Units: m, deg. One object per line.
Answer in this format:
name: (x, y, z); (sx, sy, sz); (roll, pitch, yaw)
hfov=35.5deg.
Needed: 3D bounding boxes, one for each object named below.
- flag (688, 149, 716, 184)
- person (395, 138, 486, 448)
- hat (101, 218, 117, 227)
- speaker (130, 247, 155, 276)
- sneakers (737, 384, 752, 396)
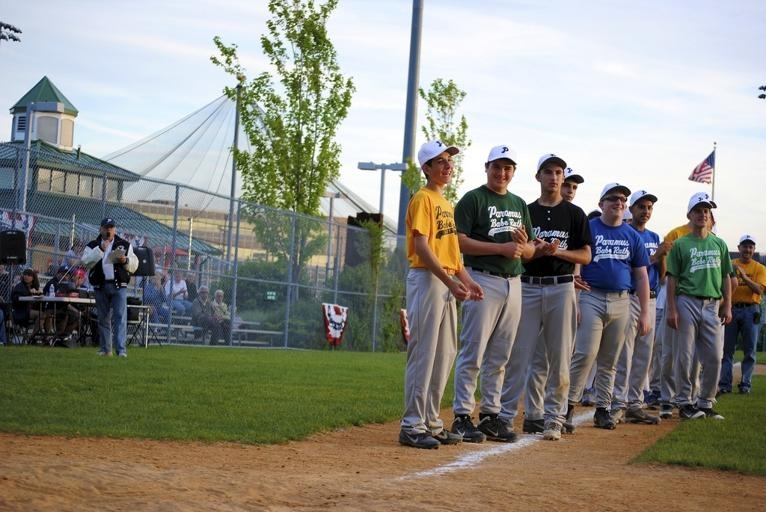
flag: (9.297, -2.593, 34.695); (0.620, 0.145, 1.355); (11, -40, 10)
person: (0.722, 0.521, 16.678); (0.993, 4.277, 0.795); (4, -4, -11)
hat: (-5.129, -0.639, 22.629); (0.235, 0.190, 0.399); (-3, -3, -14)
speaker: (-4.947, 0.115, 24.811); (0.564, 0.598, 0.493); (1, -4, -21)
sneakers: (6.771, 2.498, 22.400); (0.231, 0.263, 0.168); (1, -2, 2)
